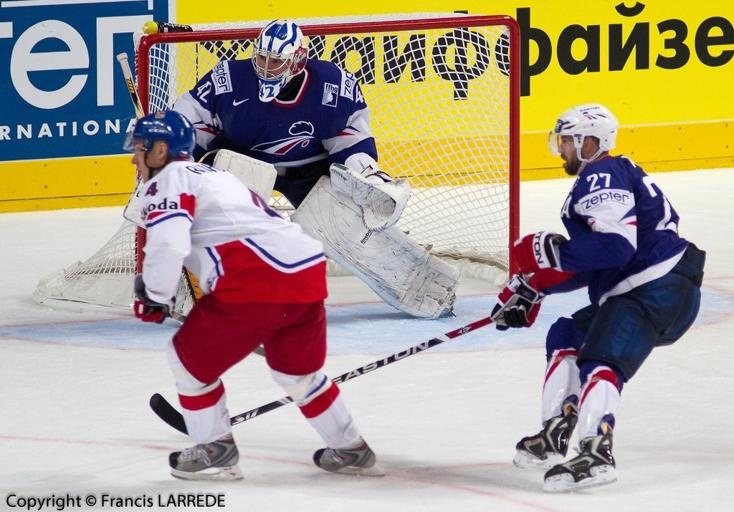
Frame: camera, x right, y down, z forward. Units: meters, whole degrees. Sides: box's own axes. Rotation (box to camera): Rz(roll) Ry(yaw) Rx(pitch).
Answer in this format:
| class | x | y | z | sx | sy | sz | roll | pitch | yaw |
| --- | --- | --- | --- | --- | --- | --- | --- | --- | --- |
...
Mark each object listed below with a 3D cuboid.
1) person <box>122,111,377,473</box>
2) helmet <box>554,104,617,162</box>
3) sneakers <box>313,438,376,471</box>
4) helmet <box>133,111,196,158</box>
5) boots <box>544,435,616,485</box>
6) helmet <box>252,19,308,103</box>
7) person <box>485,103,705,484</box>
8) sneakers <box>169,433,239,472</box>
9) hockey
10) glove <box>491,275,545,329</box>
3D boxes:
| class | x | y | z | sx | sy | sz | roll | pitch | yaw |
| --- | --- | --- | --- | --- | --- | --- | --- | --- | --- |
| person | -0.384 | 0.220 | 3.142 | 0.758 | 1.089 | 0.245 | -4 | 9 | -12 |
| helmet | 0.824 | -0.484 | 3.513 | 0.299 | 0.173 | 0.192 | 3 | 8 | 17 |
| sneakers | -0.070 | 0.698 | 3.238 | 0.274 | 0.101 | 0.092 | -13 | 10 | 34 |
| helmet | -0.691 | -0.427 | 3.163 | 0.216 | 0.128 | 0.134 | -6 | 33 | -13 |
| boots | 0.720 | 0.676 | 3.058 | 0.286 | 0.165 | 0.104 | -21 | -25 | 36 |
| helmet | -0.428 | -0.979 | 4.631 | 0.269 | 0.398 | 0.188 | -3 | 9 | -6 |
| person | 0.866 | 0.205 | 3.197 | 0.731 | 1.087 | 0.569 | -2 | 9 | -3 |
| sneakers | -0.529 | 0.670 | 3.194 | 0.300 | 0.113 | 0.091 | -2 | 24 | -8 |
| hockey | -0.164 | 0.487 | 3.619 | 1.687 | 0.174 | 0.171 | -13 | -2 | -27 |
| glove | 0.560 | 0.177 | 3.430 | 0.219 | 0.098 | 0.202 | -39 | 26 | 26 |
